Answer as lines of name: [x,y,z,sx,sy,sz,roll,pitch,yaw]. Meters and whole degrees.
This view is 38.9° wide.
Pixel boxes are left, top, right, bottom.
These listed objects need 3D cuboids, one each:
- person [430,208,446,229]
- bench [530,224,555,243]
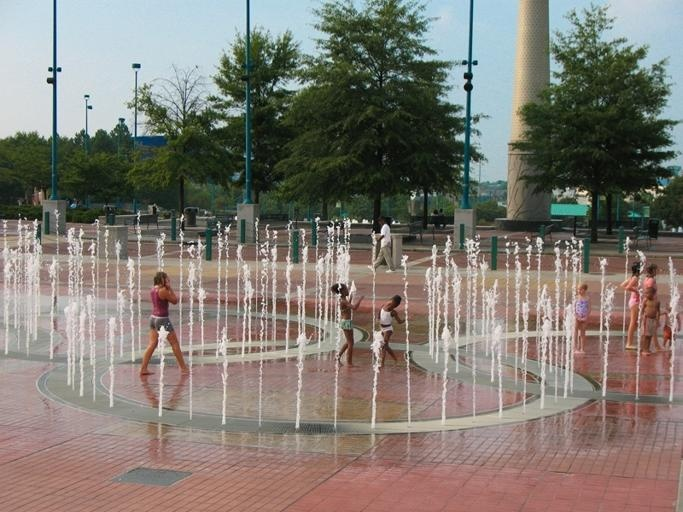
person: [5.143,-1.941,51.337,1.399,1.269,0.329,-1,3,6]
bench: [9.217,-1.046,44.475,0.872,1.188,0.818,16,22,42]
